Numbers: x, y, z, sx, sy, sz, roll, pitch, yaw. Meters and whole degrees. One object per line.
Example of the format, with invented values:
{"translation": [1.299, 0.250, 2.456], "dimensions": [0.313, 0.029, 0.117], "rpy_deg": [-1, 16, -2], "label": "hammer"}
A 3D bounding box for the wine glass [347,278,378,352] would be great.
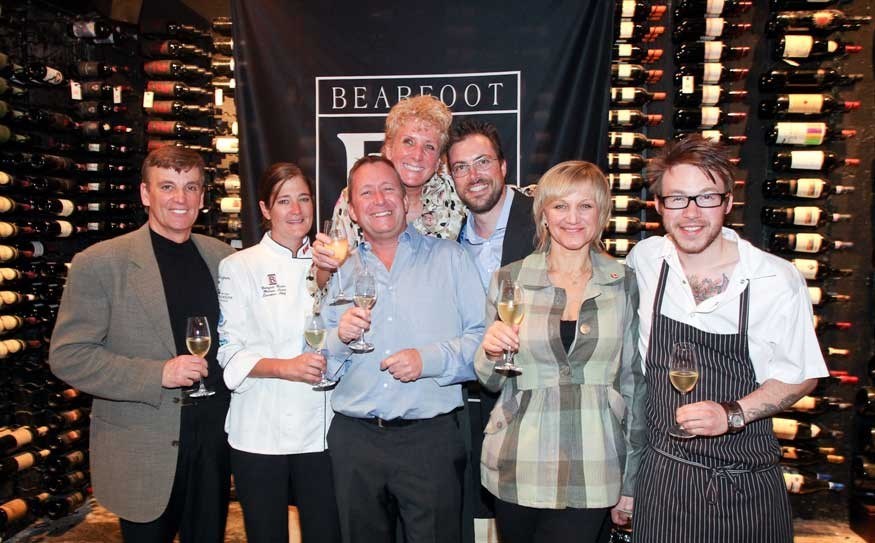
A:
{"translation": [-0.443, 0.230, 4.073], "dimensions": [0.139, 0.512, 0.193], "rpy_deg": [1, 4, 22], "label": "wine glass"}

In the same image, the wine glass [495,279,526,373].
{"translation": [0.426, 0.310, 3.974], "dimensions": [0.167, 0.626, 0.159], "rpy_deg": [0, 4, 6], "label": "wine glass"}

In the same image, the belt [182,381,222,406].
{"translation": [-1.534, 0.779, 4.307], "dimensions": [0.176, 0.182, 0.165], "rpy_deg": [-2, 6, -20], "label": "belt"}

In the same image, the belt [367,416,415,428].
{"translation": [-0.286, 0.916, 4.065], "dimensions": [0.290, 0.062, 0.028], "rpy_deg": [0, 3, 0], "label": "belt"}

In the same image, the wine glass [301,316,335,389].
{"translation": [-0.742, 0.499, 4.157], "dimensions": [0.173, 0.498, 0.283], "rpy_deg": [-1, 3, -13], "label": "wine glass"}
